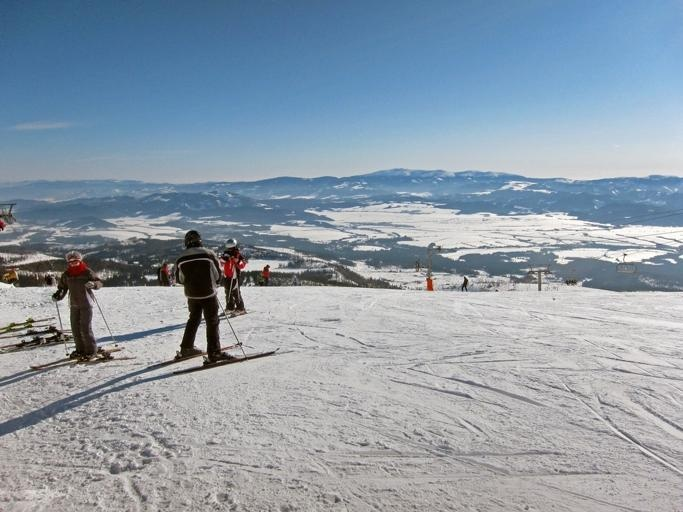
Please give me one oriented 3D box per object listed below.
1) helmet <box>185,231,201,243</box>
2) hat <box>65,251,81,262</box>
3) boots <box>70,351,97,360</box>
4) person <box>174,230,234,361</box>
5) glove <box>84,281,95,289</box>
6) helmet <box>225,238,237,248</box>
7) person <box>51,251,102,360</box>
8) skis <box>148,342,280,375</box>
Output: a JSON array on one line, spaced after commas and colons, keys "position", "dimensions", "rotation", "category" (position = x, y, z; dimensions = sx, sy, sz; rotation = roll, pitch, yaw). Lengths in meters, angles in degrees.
[{"position": [-2.912, -0.390, 9.700], "dimensions": [0.283, 0.223, 0.269], "rotation": [7, 5, -6], "category": "helmet"}, {"position": [-5.247, -0.002, 9.617], "dimensions": [0.274, 0.196, 0.239], "rotation": [-2, 8, 16], "category": "hat"}, {"position": [-5.145, 1.946, 9.811], "dimensions": [0.575, 0.169, 0.162], "rotation": [-1, 1, -4], "category": "boots"}, {"position": [-2.806, 0.777, 9.621], "dimensions": [0.868, 2.575, 0.797], "rotation": [-9, 10, -43], "category": "person"}, {"position": [-4.893, 0.552, 9.599], "dimensions": [0.059, 0.123, 0.160], "rotation": [-15, -8, 41], "category": "glove"}, {"position": [-3.010, -0.371, 13.551], "dimensions": [0.288, 0.213, 0.299], "rotation": [4, 25, 22], "category": "helmet"}, {"position": [-5.223, 0.959, 9.842], "dimensions": [0.848, 2.153, 0.826], "rotation": [-5, 8, -24], "category": "person"}, {"position": [-2.582, 2.070, 9.917], "dimensions": [2.109, 0.246, 0.283], "rotation": [-9, 25, -31], "category": "skis"}]
